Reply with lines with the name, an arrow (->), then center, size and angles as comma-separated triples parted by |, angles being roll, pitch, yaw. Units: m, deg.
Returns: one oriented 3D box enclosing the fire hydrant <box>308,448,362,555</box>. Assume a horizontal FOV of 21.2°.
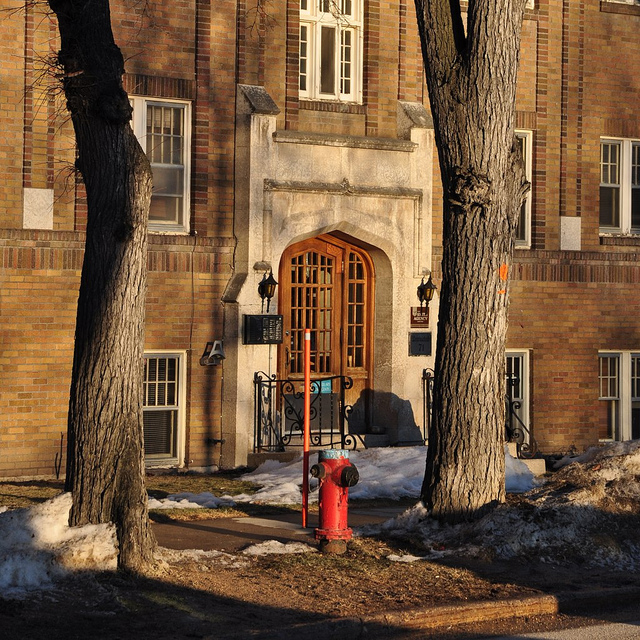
fire hydrant -> 0.152, 1.811, 17.015 | 0.477, 1.036, 0.305 | 0, 5, 7
